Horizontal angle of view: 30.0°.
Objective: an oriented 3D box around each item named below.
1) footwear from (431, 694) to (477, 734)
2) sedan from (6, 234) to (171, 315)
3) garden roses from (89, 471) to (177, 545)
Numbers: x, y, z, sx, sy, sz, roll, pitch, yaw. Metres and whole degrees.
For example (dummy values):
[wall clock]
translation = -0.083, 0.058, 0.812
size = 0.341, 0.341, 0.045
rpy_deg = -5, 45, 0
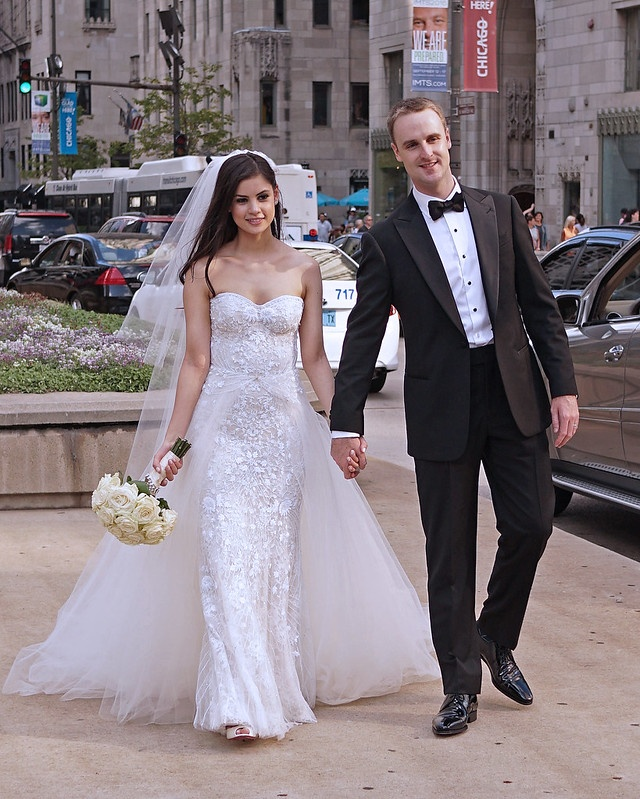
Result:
[footwear]
translation = 0.430, 0.992, 3.807
size = 0.080, 0.081, 0.179
rpy_deg = -2, -4, 25
[sedan]
translation = -3.625, -1.881, 19.266
size = 1.980, 1.374, 4.520
rpy_deg = -4, 11, -33
[garden roses]
translation = -0.614, 0.318, 3.828
size = 0.225, 0.147, 0.255
rpy_deg = 34, 5, -34
